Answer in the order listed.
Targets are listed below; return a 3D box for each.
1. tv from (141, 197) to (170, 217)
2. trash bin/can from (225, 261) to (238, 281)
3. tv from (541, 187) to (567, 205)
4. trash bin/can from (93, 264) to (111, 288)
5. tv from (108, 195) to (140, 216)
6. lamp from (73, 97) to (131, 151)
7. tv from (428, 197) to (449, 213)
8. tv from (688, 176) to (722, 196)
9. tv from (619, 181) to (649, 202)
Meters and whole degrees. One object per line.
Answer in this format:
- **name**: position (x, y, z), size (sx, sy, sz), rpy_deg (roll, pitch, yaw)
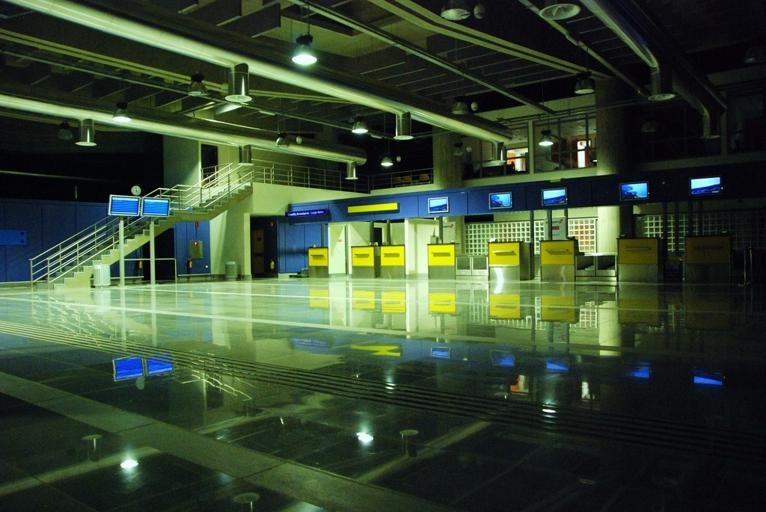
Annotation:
- **tv**: position (-7.698, -1.672, 22.438), size (0.399, 0.611, 1.184), rpy_deg (1, 1, 23)
- **trash bin/can**: position (-5.933, 0.537, 26.150), size (0.500, 0.746, 0.725), rpy_deg (1, 0, -14)
- **tv**: position (5.090, -1.800, 19.824), size (0.710, 0.409, 0.083), rpy_deg (-1, -5, 40)
- **trash bin/can**: position (-8.903, 0.589, 21.109), size (0.477, 0.740, 0.710), rpy_deg (1, 0, -22)
- **tv**: position (-8.355, -1.636, 21.549), size (1.024, 0.582, 0.131), rpy_deg (-2, 3, -45)
- **lamp**: position (-6.683, -3.228, 16.407), size (1.080, 1.152, 2.351), rpy_deg (2, 9, 2)
- **tv**: position (1.822, -1.690, 22.052), size (0.757, 0.555, 0.114), rpy_deg (2, 0, 44)
- **tv**: position (8.381, -1.838, 17.350), size (0.714, 0.380, 0.101), rpy_deg (1, 4, 36)
- **tv**: position (6.972, -1.820, 18.527), size (0.079, 0.400, 0.731), rpy_deg (0, 0, -45)
